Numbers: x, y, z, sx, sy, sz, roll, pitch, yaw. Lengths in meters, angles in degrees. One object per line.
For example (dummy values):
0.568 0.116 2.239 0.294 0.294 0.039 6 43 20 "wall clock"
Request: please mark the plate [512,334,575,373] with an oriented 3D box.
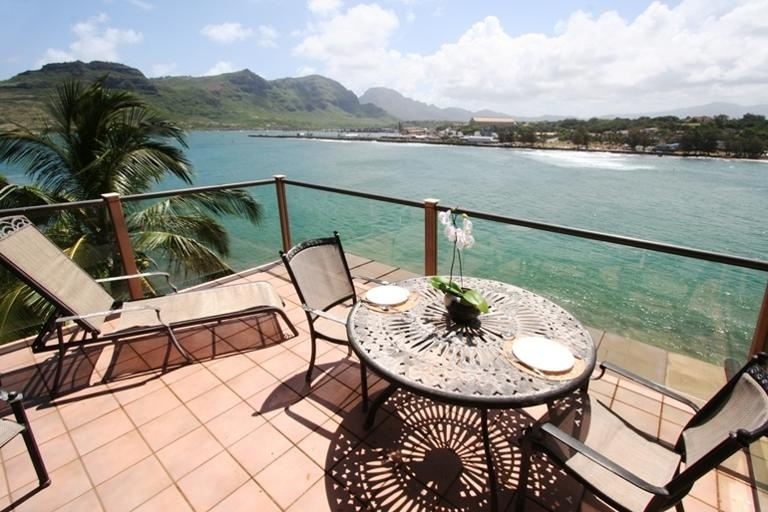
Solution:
1.211 0.743 2.983 0.302 0.061 0.275 9 25 11 "plate"
